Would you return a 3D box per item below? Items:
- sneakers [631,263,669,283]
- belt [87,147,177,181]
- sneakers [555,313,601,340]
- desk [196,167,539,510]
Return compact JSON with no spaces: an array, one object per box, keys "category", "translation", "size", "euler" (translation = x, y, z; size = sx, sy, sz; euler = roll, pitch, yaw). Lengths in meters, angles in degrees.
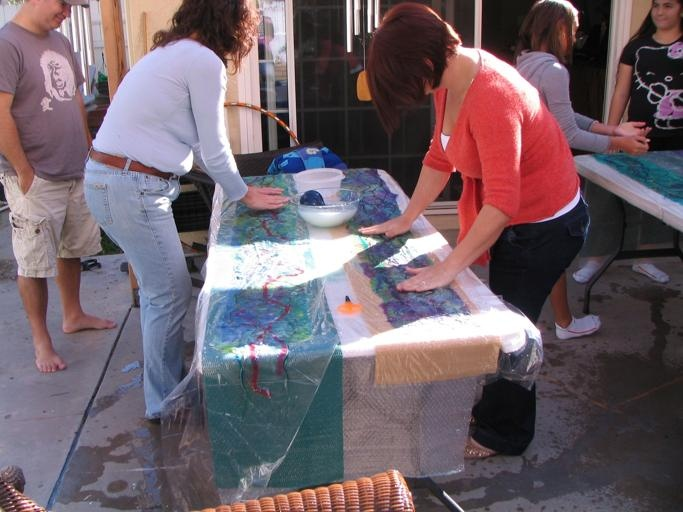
[{"category":"sneakers","translation":[2.246,0.126,3.983],"size":[0.094,0.080,0.243],"euler":[-16,27,-18]},{"category":"belt","translation":[-0.915,-0.395,2.407],"size":[0.362,0.143,0.193],"euler":[-6,24,-16]},{"category":"sneakers","translation":[1.421,0.404,3.280],"size":[0.218,0.092,0.136],"euler":[-12,26,1]},{"category":"desk","translation":[-0.013,0.294,2.068],"size":[1.050,0.566,1.054],"euler":[-7,24,-17]}]
